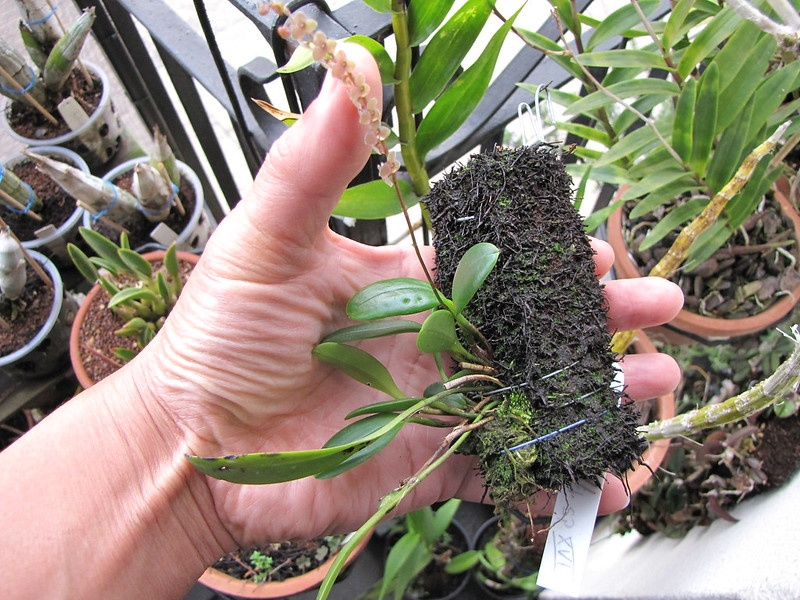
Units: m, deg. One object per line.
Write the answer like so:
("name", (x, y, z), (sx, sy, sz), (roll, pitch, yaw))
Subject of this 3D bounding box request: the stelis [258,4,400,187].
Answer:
("stelis", (-0.087, -0.289, 0.862), (0.089, 0.280, 0.195), (-21, 34, 5))

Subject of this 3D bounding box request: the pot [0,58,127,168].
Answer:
("pot", (-0.797, -0.395, 1.508), (0.269, 0.193, 0.255), (1, 79, -4))

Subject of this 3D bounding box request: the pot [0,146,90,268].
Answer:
("pot", (-0.866, -0.202, 1.502), (0.150, 0.265, 0.217), (-38, 37, -19))
